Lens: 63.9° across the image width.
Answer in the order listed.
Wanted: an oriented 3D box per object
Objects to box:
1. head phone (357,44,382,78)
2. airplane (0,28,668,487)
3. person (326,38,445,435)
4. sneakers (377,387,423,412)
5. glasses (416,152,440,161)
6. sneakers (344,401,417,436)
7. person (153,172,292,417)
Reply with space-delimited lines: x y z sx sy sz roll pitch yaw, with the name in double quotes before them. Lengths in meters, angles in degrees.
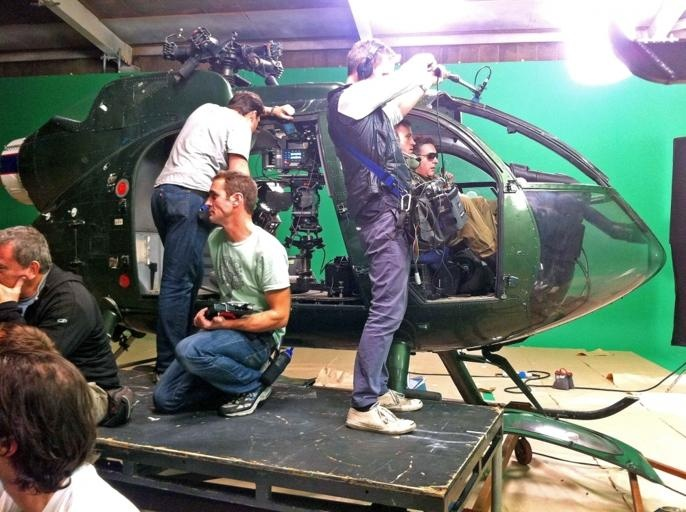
"head phone" 0.132 -0.976 2.792 0.073 0.162 0.131 35 23 10
"airplane" -1.119 -0.457 4.823 6.459 2.668 1.929 1 10 13
"person" 0.203 -0.146 2.693 0.541 1.879 0.694 -1 8 -1
"sneakers" 0.278 0.715 2.779 0.300 0.089 0.099 -1 9 -21
"glasses" 0.549 -0.617 3.389 0.111 0.029 0.103 -1 3 -23
"sneakers" 0.172 0.753 2.551 0.337 0.098 0.120 2 2 5
"person" -0.622 0.181 2.780 0.696 1.213 0.380 -1 8 -1
